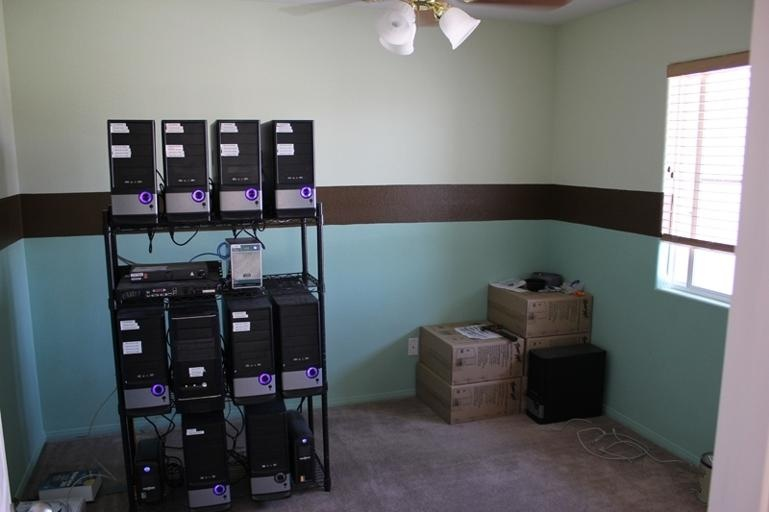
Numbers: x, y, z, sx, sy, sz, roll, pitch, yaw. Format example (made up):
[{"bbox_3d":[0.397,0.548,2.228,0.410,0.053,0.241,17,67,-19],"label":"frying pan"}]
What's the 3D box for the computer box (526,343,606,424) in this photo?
[{"bbox_3d":[1.429,1.016,4.519,0.528,0.476,0.278,-3,4,-17],"label":"computer box"}]
